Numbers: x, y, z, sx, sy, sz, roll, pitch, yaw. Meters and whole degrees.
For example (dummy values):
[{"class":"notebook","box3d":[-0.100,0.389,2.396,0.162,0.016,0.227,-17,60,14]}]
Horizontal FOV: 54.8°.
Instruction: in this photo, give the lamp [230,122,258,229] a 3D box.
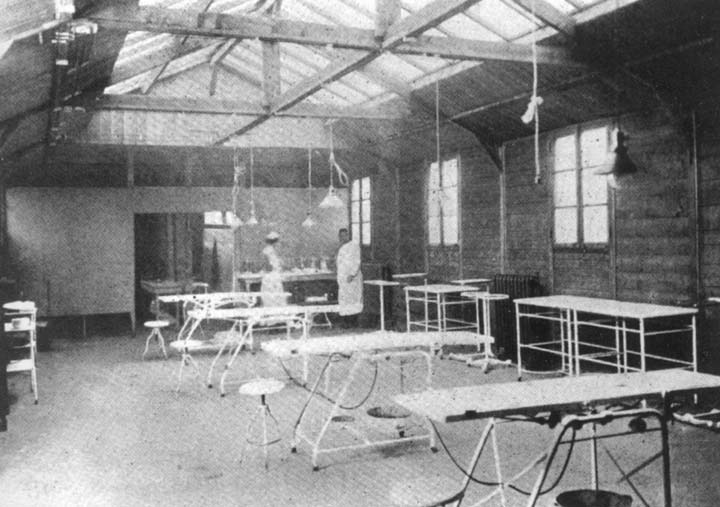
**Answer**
[{"class":"lamp","box3d":[-2.571,-1.518,15.276,0.596,1.932,3.089,1,-3,-8]}]

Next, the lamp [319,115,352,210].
[{"class":"lamp","box3d":[-0.642,-2.016,15.171,0.536,1.746,0.537,-8,27,-19]}]
